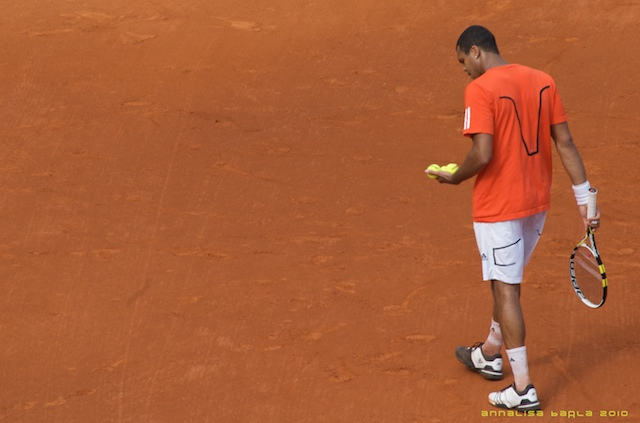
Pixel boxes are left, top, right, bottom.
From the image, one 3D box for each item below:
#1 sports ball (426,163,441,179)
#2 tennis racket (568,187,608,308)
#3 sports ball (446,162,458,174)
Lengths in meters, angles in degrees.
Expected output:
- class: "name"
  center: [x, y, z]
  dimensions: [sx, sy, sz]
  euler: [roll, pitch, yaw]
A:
- class: "sports ball"
  center: [1.308, -0.472, 9.956]
  dimensions: [0.194, 0.100, 0.189]
  euler: [-2, 0, 0]
- class: "tennis racket"
  center: [2.987, 0.641, 9.670]
  dimensions: [0.314, 0.865, 0.569]
  euler: [-6, 23, 6]
- class: "sports ball"
  center: [1.510, -0.482, 9.927]
  dimensions: [0.161, 0.161, 0.209]
  euler: [2, 11, 9]
